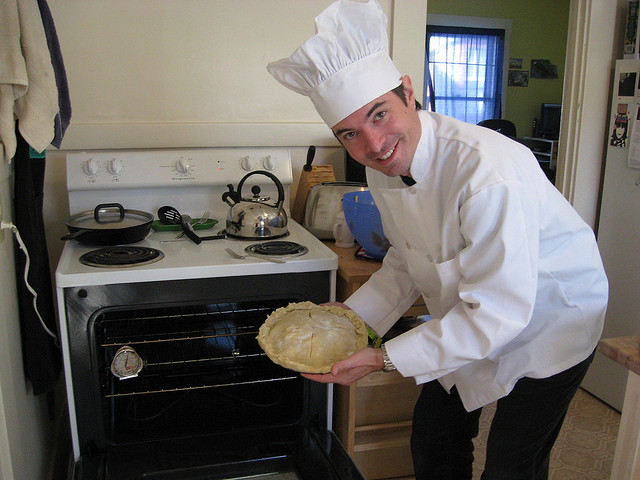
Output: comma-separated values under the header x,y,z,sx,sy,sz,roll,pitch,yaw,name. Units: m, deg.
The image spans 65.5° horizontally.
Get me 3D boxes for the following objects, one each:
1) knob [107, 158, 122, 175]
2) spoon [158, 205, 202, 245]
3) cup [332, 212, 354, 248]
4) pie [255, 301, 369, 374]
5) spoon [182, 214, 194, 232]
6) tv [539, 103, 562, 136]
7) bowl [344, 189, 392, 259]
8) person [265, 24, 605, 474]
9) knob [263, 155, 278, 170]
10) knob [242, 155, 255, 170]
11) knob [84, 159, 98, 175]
x,y,z,sx,sy,sz,roll,pitch,yaw,name
-0.895,-0.319,2.168,0.045,0.065,0.021,-6,0,-14,knob
-0.584,-0.061,2.065,0.077,0.115,0.287,-15,23,-35,spoon
0.094,-0.040,2.116,0.084,0.150,0.140,10,14,33,cup
-0.025,0.306,1.555,0.340,0.095,0.341,1,20,7,pie
-0.584,-0.079,2.212,0.027,0.084,0.058,-22,-9,23,spoon
3.031,-1.564,6.661,0.323,0.489,0.262,2,0,-6,tv
0.170,-0.064,1.987,0.197,0.196,0.238,-9,10,-4,bowl
0.374,0.142,1.457,0.891,1.454,0.442,2,18,12,person
-0.235,-0.356,2.321,0.060,0.065,0.025,-11,-2,-16,knob
-0.335,-0.353,2.294,0.046,0.065,0.015,-5,-4,-2,knob
-0.984,-0.313,2.144,0.049,0.058,0.018,-6,-2,-22,knob
